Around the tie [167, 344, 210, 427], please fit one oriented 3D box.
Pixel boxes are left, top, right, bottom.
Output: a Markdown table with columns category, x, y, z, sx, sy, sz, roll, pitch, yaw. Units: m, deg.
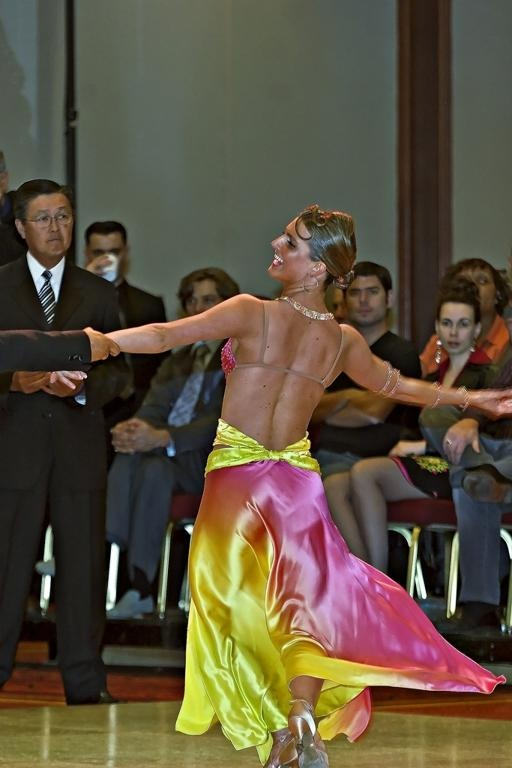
| category | x | y | z | sx | sy | sz | roll | pitch | yaw |
| --- | --- | --- | --- | --- | --- | --- | --- | --- | --- |
| tie | -0.234 | 0.031 | 2.830 | 0.097 | 0.370 | 0.105 | 20 | -2 | 6 |

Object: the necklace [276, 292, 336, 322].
| category | x | y | z | sx | sy | sz | roll | pitch | yaw |
| --- | --- | --- | --- | --- | --- | --- | --- | --- | --- |
| necklace | 0.101 | -0.141 | 1.443 | 0.070 | 0.016 | 0.060 | 23 | 7 | 31 |

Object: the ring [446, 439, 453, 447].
| category | x | y | z | sx | sy | sz | roll | pitch | yaw |
| --- | --- | --- | --- | --- | --- | --- | --- | --- | --- |
| ring | 0.646 | 0.197 | 2.607 | 0.024 | 0.020 | 0.007 | -1 | -2 | 3 |

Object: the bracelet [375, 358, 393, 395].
| category | x | y | z | sx | sy | sz | roll | pitch | yaw |
| --- | --- | --- | --- | --- | --- | --- | --- | --- | --- |
| bracelet | 0.276 | -0.010 | 1.678 | 0.018 | 0.055 | 0.063 | 10 | 0 | -11 |
